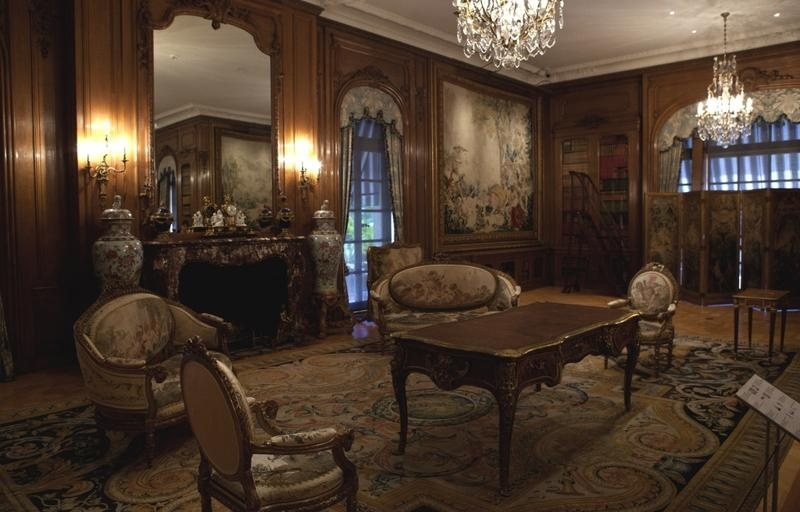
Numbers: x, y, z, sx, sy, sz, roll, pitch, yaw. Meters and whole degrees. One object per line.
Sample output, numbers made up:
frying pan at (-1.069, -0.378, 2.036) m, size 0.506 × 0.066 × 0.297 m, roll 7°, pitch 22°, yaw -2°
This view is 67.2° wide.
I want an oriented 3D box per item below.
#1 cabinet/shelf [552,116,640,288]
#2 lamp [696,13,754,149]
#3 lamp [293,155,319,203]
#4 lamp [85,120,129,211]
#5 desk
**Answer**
cabinet/shelf at (3.865, -0.973, 12.013) m, size 1.705 × 3.270 × 0.536 m, roll 2°, pitch 8°, yaw 44°
lamp at (5.351, -2.836, 9.964) m, size 0.793 × 1.989 × 1.390 m, roll 0°, pitch 6°, yaw 30°
lamp at (-1.307, -1.082, 8.552) m, size 0.142 × 0.625 × 0.312 m, roll 1°, pitch 7°, yaw 40°
lamp at (-3.473, -1.081, 7.160) m, size 0.485 × 1.017 × 0.123 m, roll -6°, pitch 6°, yaw -28°
desk at (-2.176, 0.446, 7.993) m, size 1.911 × 1.486 × 0.722 m, roll -4°, pitch 15°, yaw -20°
